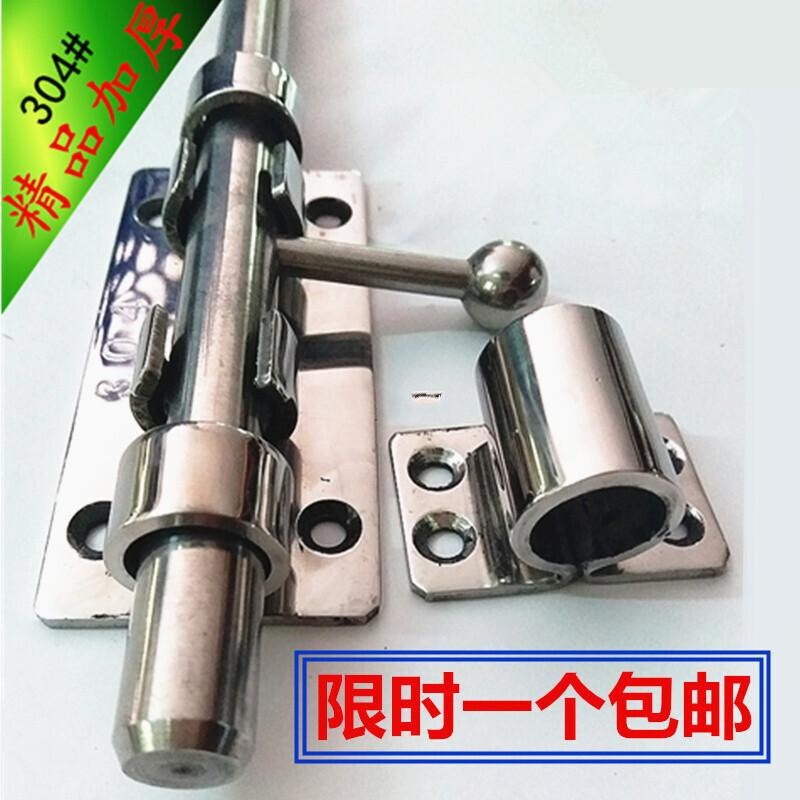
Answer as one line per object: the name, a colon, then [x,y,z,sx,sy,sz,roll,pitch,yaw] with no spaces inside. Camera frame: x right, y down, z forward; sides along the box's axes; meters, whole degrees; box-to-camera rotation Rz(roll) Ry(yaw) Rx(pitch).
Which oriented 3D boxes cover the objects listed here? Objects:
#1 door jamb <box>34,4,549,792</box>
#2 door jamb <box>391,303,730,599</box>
door jamb: [-0.104,-0.086,0.657,0.231,0.635,0.099,-2,-42,-1]
door jamb: [0.106,0.033,0.601,0.211,0.156,0.134,-11,-37,-10]
